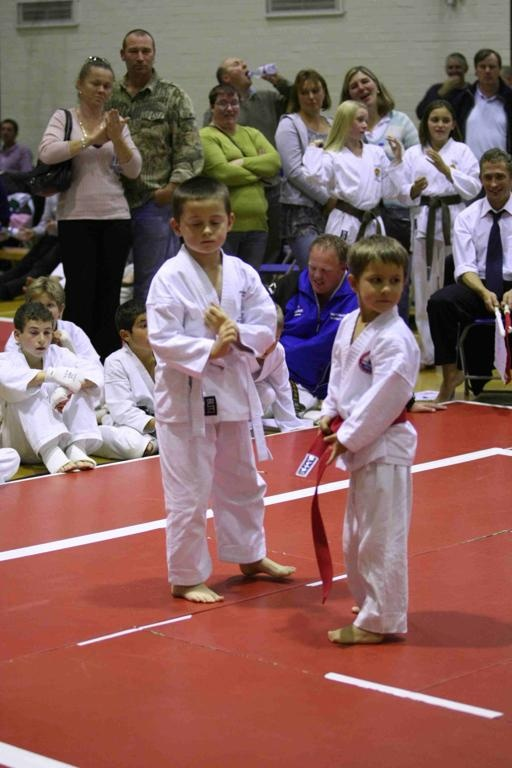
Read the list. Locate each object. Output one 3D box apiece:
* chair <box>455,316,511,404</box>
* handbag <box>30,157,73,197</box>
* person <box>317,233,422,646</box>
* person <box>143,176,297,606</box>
[{"bbox_3d":[1.432,-0.152,4.703,0.307,0.524,1.046,2,4,10],"label":"chair"},{"bbox_3d":[-1.170,-1.187,4.217,0.214,0.200,0.170,1,5,-7],"label":"handbag"},{"bbox_3d":[0.265,0.128,1.757,0.228,0.955,0.287,3,5,11],"label":"person"},{"bbox_3d":[-0.103,0.021,2.005,0.273,1.139,0.437,5,6,31],"label":"person"}]
